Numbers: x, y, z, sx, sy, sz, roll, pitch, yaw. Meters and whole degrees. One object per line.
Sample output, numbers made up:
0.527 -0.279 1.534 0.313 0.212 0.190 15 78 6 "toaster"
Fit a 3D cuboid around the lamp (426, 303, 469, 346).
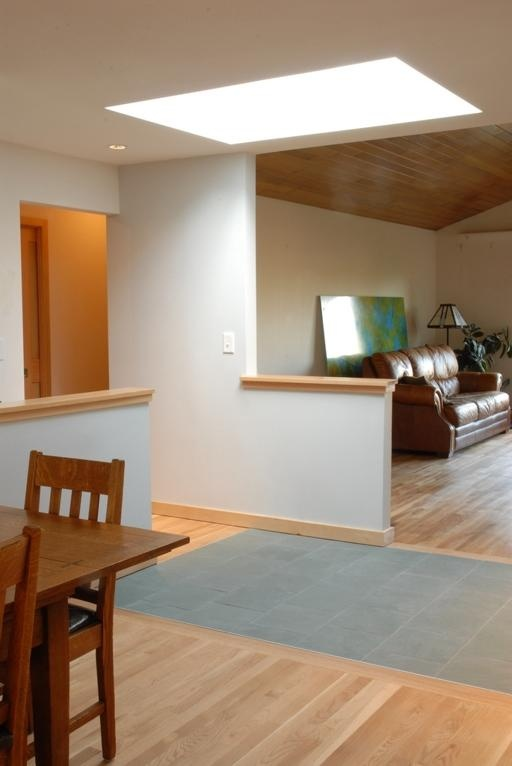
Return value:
3.257 -1.025 9.883 0.589 0.703 1.216 -1 -1 16 "lamp"
